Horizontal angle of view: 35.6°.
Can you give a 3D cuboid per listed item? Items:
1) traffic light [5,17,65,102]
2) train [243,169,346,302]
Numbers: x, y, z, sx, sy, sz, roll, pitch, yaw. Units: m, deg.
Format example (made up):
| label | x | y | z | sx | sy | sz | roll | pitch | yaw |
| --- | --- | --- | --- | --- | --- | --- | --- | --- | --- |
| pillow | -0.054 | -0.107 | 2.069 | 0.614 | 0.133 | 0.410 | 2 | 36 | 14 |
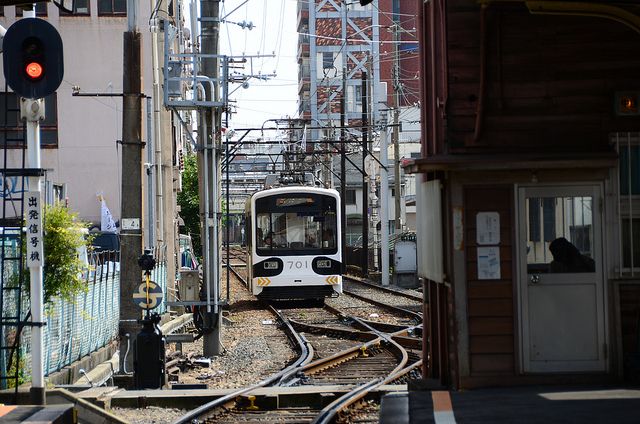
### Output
| label | x | y | z | sx | sy | sz | roll | pitch | yaw |
| --- | --- | --- | --- | --- | --- | --- | --- | --- | --- |
| traffic light | -4.549 | -2.422 | 15.830 | 0.897 | 1.337 | 0.341 | -1 | -2 | -15 |
| train | -0.702 | 0.451 | 32.116 | 2.517 | 3.906 | 8.311 | -1 | 4 | -2 |
